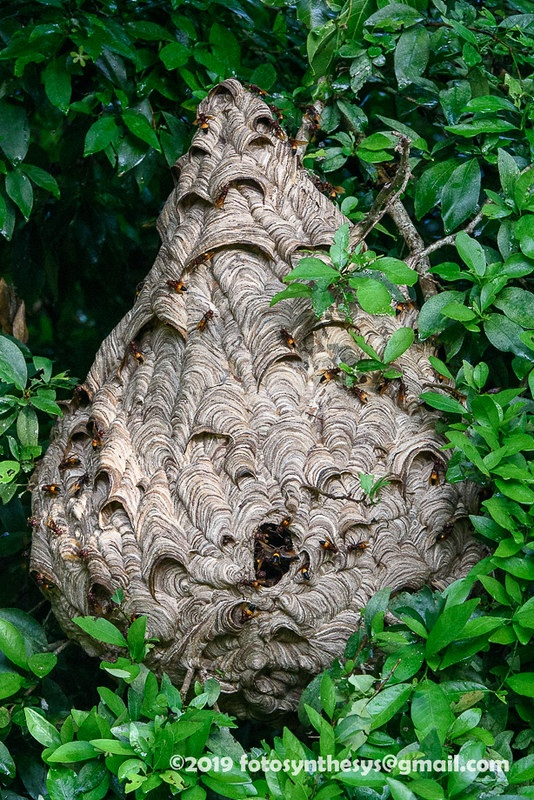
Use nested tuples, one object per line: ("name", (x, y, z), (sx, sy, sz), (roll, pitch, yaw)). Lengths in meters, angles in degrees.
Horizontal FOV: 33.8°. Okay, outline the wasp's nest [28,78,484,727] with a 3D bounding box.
("wasp's nest", (-0.019, 0.121, 3.198), (1.517, 2.157, 1.459), (-3, -8, 10))
